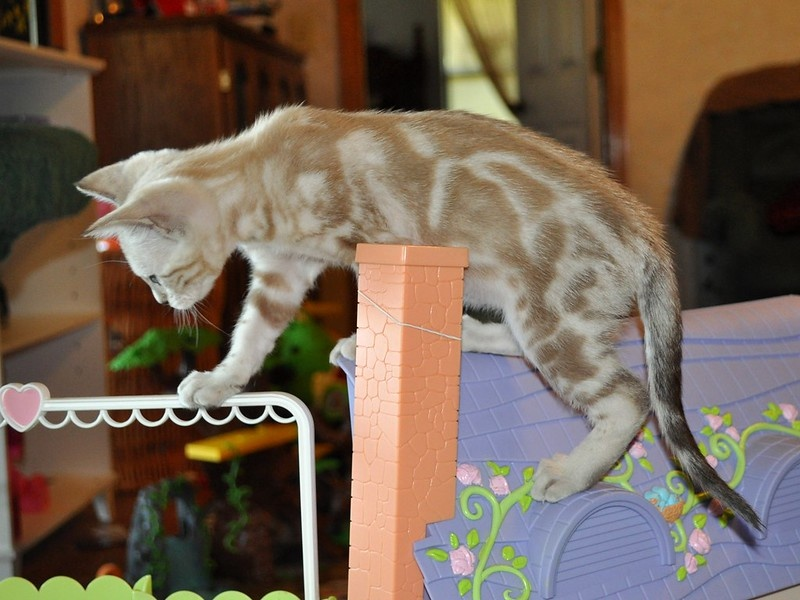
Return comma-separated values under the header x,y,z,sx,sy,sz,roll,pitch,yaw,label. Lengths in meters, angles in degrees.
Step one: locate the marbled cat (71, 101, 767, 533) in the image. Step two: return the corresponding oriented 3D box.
x,y,z,sx,sy,sz,roll,pitch,yaw,label
0.033,-0.022,1.654,1.088,0.629,0.355,6,17,2,marbled cat
